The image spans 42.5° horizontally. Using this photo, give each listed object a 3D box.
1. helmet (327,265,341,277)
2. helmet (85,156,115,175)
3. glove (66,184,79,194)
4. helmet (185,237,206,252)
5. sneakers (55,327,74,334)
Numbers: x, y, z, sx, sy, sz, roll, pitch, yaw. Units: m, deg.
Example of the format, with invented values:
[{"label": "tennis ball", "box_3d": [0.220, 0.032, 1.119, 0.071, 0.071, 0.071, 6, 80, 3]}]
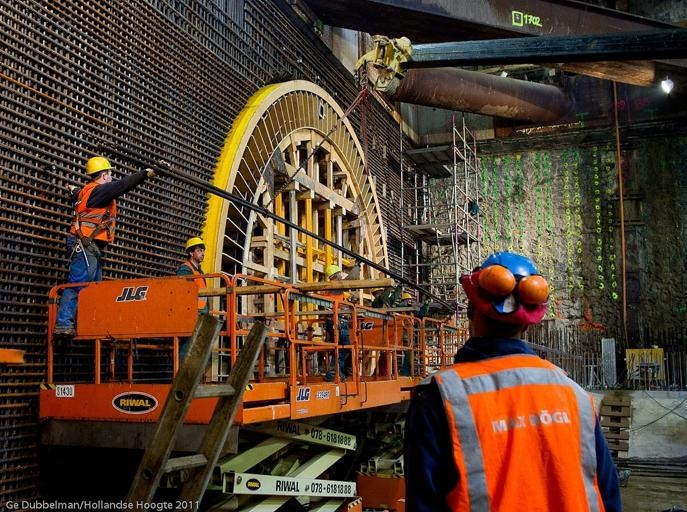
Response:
[{"label": "helmet", "box_3d": [-0.218, 0.300, 17.700, 0.187, 0.203, 0.239, -34, 2, -43]}, {"label": "helmet", "box_3d": [-3.657, -1.391, 13.358, 0.254, 0.179, 0.330, 3, 18, 25]}, {"label": "glove", "box_3d": [-4.042, -0.996, 13.255, 0.151, 0.083, 0.197, 16, 6, -38]}, {"label": "helmet", "box_3d": [-2.483, -0.214, 14.722, 0.279, 0.153, 0.228, -16, -22, 36]}, {"label": "sneakers", "box_3d": [-3.816, 1.029, 12.108, 0.247, 0.102, 0.072, 3, -11, -20]}]
